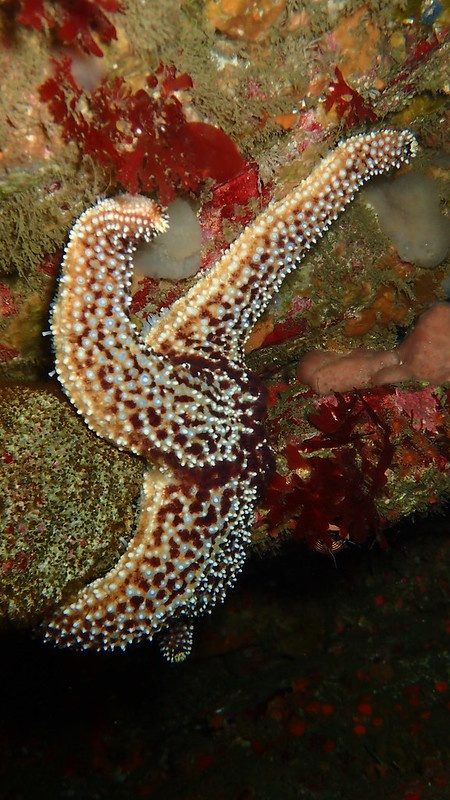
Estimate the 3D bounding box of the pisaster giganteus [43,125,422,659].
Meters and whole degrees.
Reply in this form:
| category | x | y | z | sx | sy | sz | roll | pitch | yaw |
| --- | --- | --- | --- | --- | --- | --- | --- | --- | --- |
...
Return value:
| category | x | y | z | sx | sy | sz | roll | pitch | yaw |
| --- | --- | --- | --- | --- | --- | --- | --- | --- | --- |
| pisaster giganteus | -0.158 | -0.025 | 4.405 | 1.703 | 3.499 | 1.518 | -17 | 61 | -31 |
